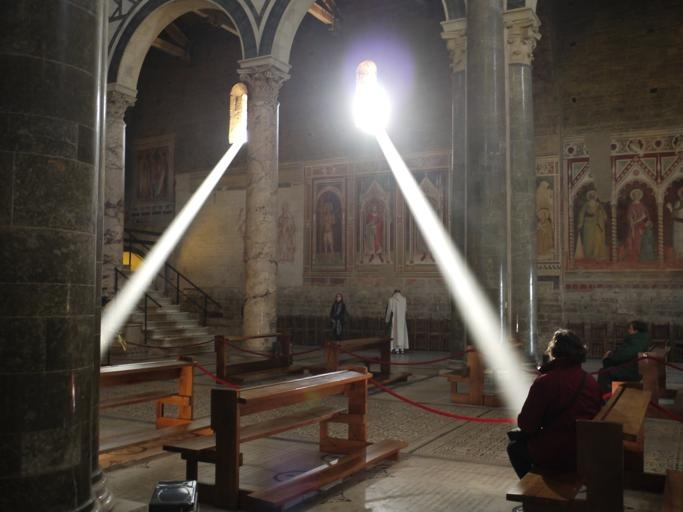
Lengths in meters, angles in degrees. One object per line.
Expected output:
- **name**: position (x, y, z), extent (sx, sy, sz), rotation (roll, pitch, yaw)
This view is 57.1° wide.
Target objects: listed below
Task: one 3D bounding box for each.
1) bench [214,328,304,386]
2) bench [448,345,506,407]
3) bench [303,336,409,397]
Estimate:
- **bench**: position (-1.483, 1.853, 11.598), extent (0.558, 0.876, 2.036), rotation (-3, -5, 28)
- **bench**: position (2.077, 1.730, 9.584), extent (0.772, 0.813, 0.995), rotation (3, 7, 22)
- **bench**: position (0.206, 2.257, 11.237), extent (1.172, 0.814, 1.602), rotation (0, -1, 38)
